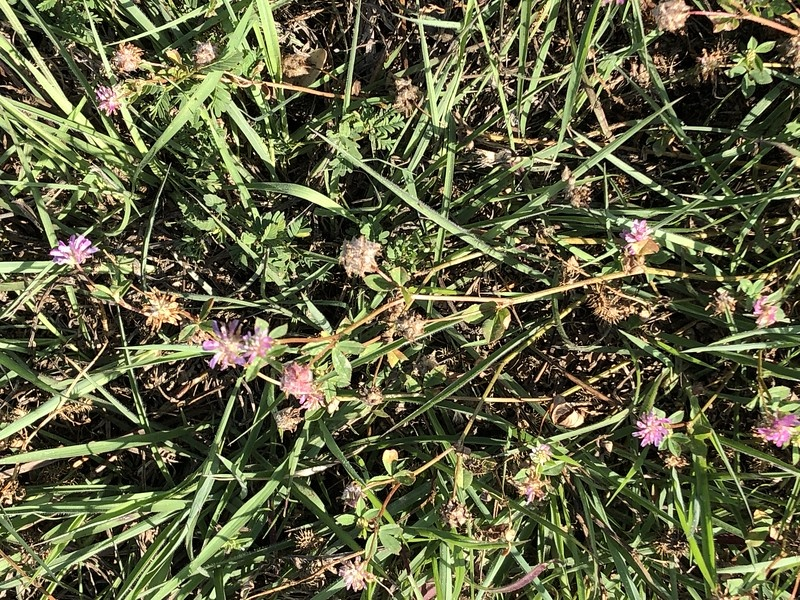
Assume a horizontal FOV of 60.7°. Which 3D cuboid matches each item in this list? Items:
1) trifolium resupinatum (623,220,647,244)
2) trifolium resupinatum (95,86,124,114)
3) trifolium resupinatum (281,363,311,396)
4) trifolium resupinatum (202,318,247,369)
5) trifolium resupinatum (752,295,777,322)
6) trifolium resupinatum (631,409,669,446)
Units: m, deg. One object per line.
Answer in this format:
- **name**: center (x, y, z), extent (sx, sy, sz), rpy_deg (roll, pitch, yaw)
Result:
- **trifolium resupinatum**: center (1.052, -0.299, 3.034), extent (0.111, 0.055, 0.107), rpy_deg (1, 86, 7)
- **trifolium resupinatum**: center (-1.302, -0.894, 3.041), extent (0.141, 0.051, 0.135), rpy_deg (0, 89, -3)
- **trifolium resupinatum**: center (-0.407, 0.343, 2.847), extent (0.129, 0.136, 0.127), rpy_deg (12, 80, -3)
- **trifolium resupinatum**: center (-0.696, 0.182, 2.739), extent (0.153, 0.126, 0.185), rpy_deg (-5, 84, 0)
- **trifolium resupinatum**: center (1.640, 0.037, 3.100), extent (0.097, 0.120, 0.117), rpy_deg (7, 84, 1)
- **trifolium resupinatum**: center (1.139, 0.576, 3.082), extent (0.161, 0.060, 0.165), rpy_deg (3, 88, 7)
